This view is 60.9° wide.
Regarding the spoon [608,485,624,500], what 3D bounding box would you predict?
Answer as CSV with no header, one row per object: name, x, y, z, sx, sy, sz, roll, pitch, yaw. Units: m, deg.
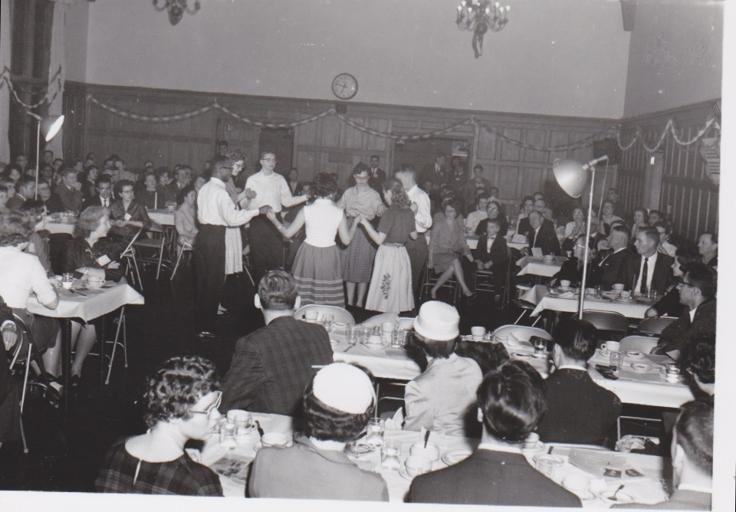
spoon,1.405,1.335,3.528,0.078,0.037,0.051,-46,-3,-34

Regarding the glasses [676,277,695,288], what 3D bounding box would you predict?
glasses,2.926,0.240,5.741,0.162,0.050,0.160,7,0,-38

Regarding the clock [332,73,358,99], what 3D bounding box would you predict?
clock,-0.514,-3.654,13.460,0.503,0.525,0.105,2,12,1

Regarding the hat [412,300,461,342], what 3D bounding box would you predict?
hat,0.430,0.420,3.955,0.275,0.176,0.201,4,13,4

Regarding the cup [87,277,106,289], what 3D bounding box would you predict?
cup,-2.601,0.254,5.949,0.132,0.063,0.093,3,8,-17

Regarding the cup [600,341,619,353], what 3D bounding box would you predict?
cup,2.072,0.767,5.337,0.137,0.102,0.108,-4,0,19

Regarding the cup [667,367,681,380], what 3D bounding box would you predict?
cup,2.408,0.933,4.920,0.100,0.068,0.143,10,15,26

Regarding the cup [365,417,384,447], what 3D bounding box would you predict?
cup,0.013,1.105,3.896,0.138,0.160,0.141,0,-18,0

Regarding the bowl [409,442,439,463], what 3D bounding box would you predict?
bowl,0.337,1.158,3.706,0.167,0.075,0.110,1,14,-11

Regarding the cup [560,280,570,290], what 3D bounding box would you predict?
cup,2.323,0.340,7.303,0.115,0.095,0.101,10,-7,-21

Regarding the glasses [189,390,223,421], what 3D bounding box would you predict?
glasses,-0.835,0.771,3.210,0.134,0.042,0.135,-3,10,9

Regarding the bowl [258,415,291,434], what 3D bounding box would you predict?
bowl,-0.586,1.035,3.879,0.219,0.042,0.181,1,14,-10

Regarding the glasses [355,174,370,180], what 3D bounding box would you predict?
glasses,-0.076,-0.940,7.371,0.129,0.063,0.131,-1,0,1

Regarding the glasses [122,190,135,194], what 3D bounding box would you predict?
glasses,-3.609,-0.961,9.347,0.094,0.048,0.128,-6,-6,-7

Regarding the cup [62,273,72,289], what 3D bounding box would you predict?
cup,-2.854,0.235,5.896,0.077,0.124,0.122,12,21,23

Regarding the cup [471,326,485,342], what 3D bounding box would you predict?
cup,0.963,0.672,5.483,0.105,0.092,0.128,2,-7,-20

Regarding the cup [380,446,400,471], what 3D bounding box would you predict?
cup,0.134,1.175,3.650,0.114,0.087,0.121,3,13,-1

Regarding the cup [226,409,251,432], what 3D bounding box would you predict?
cup,-0.792,0.995,3.770,0.096,0.091,0.128,2,-4,1
